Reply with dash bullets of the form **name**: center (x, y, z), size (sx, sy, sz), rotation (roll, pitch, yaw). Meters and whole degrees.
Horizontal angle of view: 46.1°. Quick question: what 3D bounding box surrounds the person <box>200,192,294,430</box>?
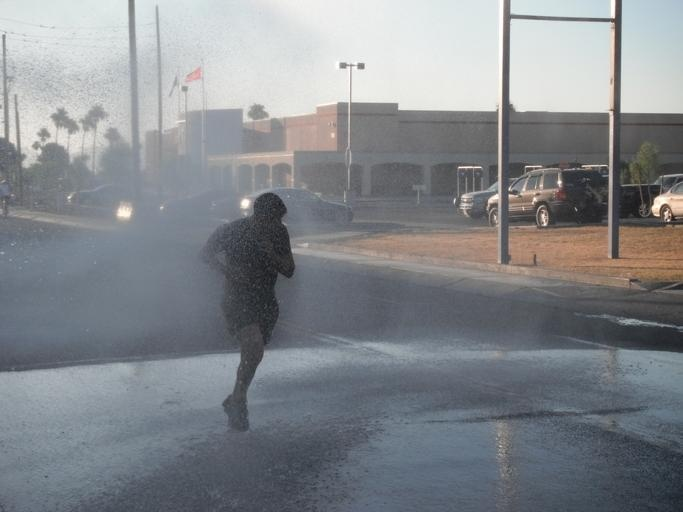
- **person**: center (-0.873, 0.509, 7.705), size (0.821, 2.225, 0.493), rotation (-1, 7, -6)
